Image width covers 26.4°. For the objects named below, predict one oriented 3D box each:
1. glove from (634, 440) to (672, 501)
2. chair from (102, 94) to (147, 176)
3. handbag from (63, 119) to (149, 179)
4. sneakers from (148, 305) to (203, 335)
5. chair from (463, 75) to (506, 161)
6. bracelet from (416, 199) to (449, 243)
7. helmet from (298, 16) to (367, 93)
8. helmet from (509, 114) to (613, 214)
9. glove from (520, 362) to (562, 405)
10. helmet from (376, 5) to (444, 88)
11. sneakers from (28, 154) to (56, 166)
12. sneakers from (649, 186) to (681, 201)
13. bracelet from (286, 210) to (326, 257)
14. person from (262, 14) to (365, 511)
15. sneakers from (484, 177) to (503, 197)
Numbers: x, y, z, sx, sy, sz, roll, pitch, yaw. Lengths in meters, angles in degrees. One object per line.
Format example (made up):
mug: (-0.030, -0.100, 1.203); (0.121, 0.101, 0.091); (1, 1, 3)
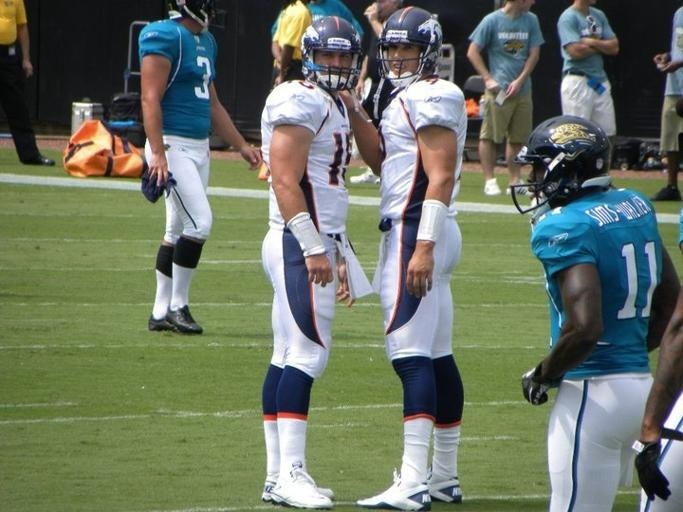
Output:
glove: (1.594, 1.115, 7.554); (0.186, 0.283, 0.104); (-30, -18, -22)
chair: (-2.846, -1.650, 19.868); (0.622, 1.181, 0.737); (-2, -1, 8)
handbag: (-2.885, -1.240, 17.571); (0.986, 0.698, 0.385); (20, -10, -28)
sneakers: (-1.254, 0.471, 10.962); (0.417, 0.194, 0.106); (5, 14, 11)
chair: (2.195, -2.414, 22.343); (0.652, 0.980, 0.505); (11, 46, 14)
bracelet: (0.516, -0.216, 8.504); (0.187, 0.227, 0.143); (20, -6, -6)
helmet: (-0.101, -1.260, 8.912); (0.342, 0.383, 0.463); (1, 14, -15)
helmet: (1.245, -0.532, 8.146); (0.535, 0.503, 0.454); (1, 3, 16)
glove: (1.082, 0.700, 8.000); (0.114, 0.336, 0.150); (-15, 47, -24)
helmet: (0.441, -1.277, 8.842); (0.367, 0.492, 0.491); (0, 7, 21)
sneakers: (-3.829, -1.223, 18.481); (0.382, 0.162, 0.130); (-2, 10, -6)
sneakers: (3.708, -0.727, 16.957); (0.420, 0.181, 0.140); (-1, 6, -9)
bracelet: (-0.204, -0.122, 8.567); (0.184, 0.274, 0.134); (-29, -1, 1)
person: (-0.160, -0.014, 8.608); (0.633, 2.674, 1.325); (1, 14, -3)
sneakers: (1.792, -0.818, 17.369); (0.142, 0.179, 0.260); (-4, -1, 1)
